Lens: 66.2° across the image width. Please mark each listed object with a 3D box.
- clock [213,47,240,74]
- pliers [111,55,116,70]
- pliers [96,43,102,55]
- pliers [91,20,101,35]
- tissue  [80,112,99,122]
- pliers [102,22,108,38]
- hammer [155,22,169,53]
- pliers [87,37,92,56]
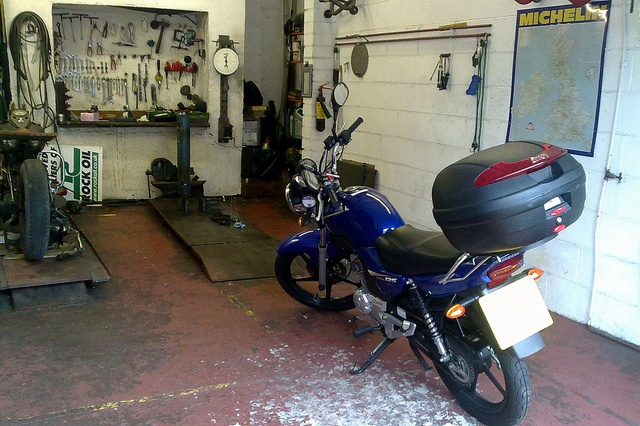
[{"bbox_3d":[-1.453,-2.386,7.734,0.428,0.405,0.097,10,21,8],"label":"clock"},{"bbox_3d":[-3.339,-2.453,7.983,0.080,0.225,0.035,-6,18,-19],"label":"pliers"},{"bbox_3d":[-3.518,-2.624,7.878,0.109,0.150,0.042,-3,11,-1],"label":"pliers"},{"bbox_3d":[-3.553,-2.967,7.847,0.149,0.225,0.053,-7,18,-23],"label":"pliers"},{"bbox_3d":[-3.464,-1.457,7.432,0.266,0.123,0.473,-7,17,-23],"label":"tissue "},{"bbox_3d":[-3.439,-2.943,7.890,0.113,0.232,0.040,-6,18,-19],"label":"pliers"},{"bbox_3d":[-2.617,-2.908,8.143,0.194,0.483,0.053,11,18,0],"label":"hammer"},{"bbox_3d":[-3.653,-2.642,7.835,0.091,0.287,0.058,-3,17,-10],"label":"pliers"}]
